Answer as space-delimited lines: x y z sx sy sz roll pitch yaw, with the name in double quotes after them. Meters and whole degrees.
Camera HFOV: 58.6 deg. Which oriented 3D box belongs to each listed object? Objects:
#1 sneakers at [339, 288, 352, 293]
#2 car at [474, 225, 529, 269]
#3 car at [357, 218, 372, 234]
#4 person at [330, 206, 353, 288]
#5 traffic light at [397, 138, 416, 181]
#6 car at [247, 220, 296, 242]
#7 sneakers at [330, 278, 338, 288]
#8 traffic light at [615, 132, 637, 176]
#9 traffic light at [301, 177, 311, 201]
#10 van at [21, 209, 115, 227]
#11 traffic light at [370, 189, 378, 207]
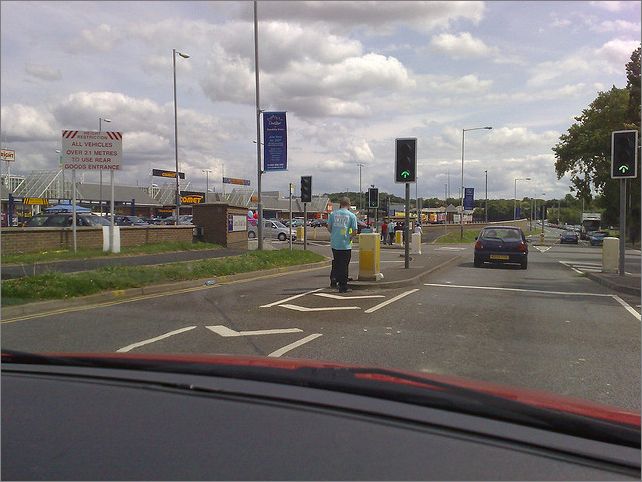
0.514 0.988 11.458 0.269 0.115 0.084 -3 5 -43 "sneakers"
5.815 0.214 18.311 1.599 1.283 1.483 1 4 15 "car"
3.237 -0.889 42.364 1.462 0.706 2.313 -1 -1 6 "car"
0.420 0.190 11.558 0.509 1.633 0.557 -4 6 -44 "person"
2.275 -2.113 15.047 0.560 1.158 0.203 2 4 26 "traffic light"
-3.836 -0.734 40.378 3.171 1.357 1.570 0 1 8 "car"
0.282 0.861 11.728 0.115 0.197 0.131 -1 20 11 "sneakers"
7.320 -2.070 13.644 0.533 1.147 0.595 2 4 23 "traffic light"
-0.558 -2.000 22.224 0.370 0.940 1.465 0 4 -4 "traffic light"
-8.923 -0.703 19.921 2.376 0.829 1.112 -2 0 0 "van"
2.762 -2.185 29.446 0.448 0.961 0.906 0 4 -3 "traffic light"
